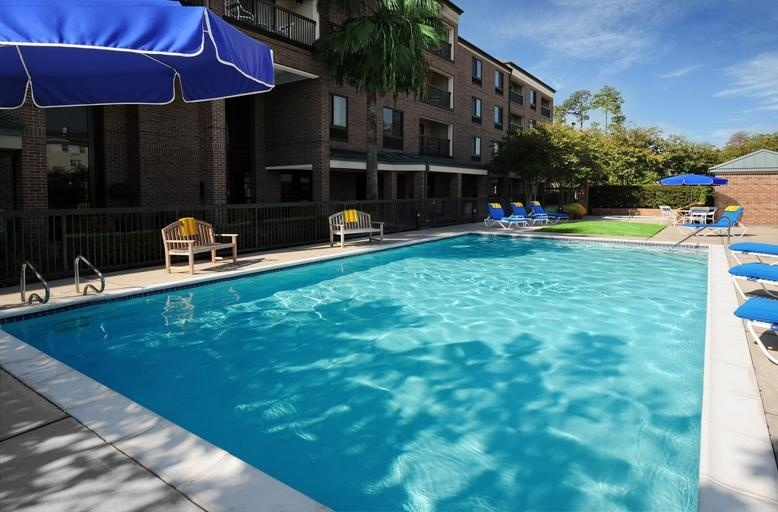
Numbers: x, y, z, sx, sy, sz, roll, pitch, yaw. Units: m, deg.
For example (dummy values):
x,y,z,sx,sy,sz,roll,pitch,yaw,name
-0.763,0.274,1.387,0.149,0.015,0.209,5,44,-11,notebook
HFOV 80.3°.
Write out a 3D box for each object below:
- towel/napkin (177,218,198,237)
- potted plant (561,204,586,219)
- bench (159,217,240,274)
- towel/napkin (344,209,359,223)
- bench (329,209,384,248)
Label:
x,y,z,sx,sy,sz,roll,pitch,yaw,name
-5.208,-0.780,11.988,0.475,0.577,0.420,-11,22,-25,towel/napkin
13.098,-3.213,32.233,1.500,0.654,2.095,0,1,14,potted plant
-4.878,-0.315,12.021,0.965,1.286,1.883,6,10,16,bench
-1.413,-1.478,17.006,0.612,0.489,0.064,13,-27,-37,towel/napkin
-1.232,-1.040,17.010,0.822,1.262,2.209,11,13,39,bench
